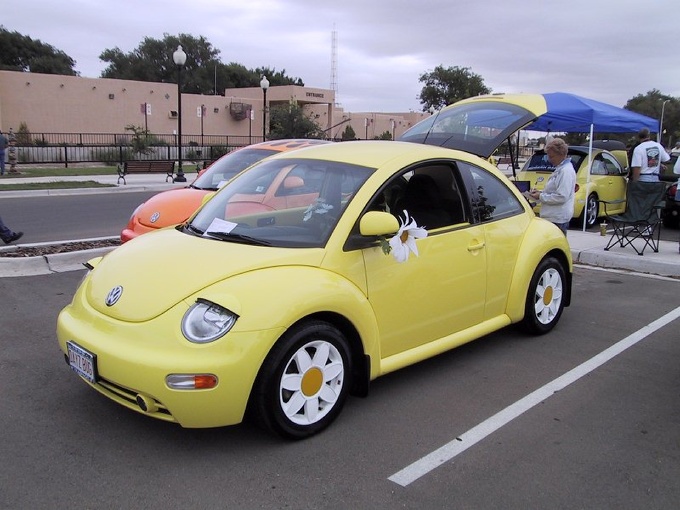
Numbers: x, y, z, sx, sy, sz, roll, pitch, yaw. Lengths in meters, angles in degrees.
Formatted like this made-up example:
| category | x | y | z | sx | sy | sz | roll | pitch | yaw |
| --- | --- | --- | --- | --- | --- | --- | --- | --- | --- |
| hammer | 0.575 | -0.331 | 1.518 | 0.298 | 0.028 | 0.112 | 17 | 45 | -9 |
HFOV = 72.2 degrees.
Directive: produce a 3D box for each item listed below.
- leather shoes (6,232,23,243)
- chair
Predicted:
| category | x | y | z | sx | sy | sz | roll | pitch | yaw |
| --- | --- | --- | --- | --- | --- | --- | --- | --- | --- |
| leather shoes | -5.842 | -0.314 | 8.279 | 0.263 | 0.106 | 0.129 | -23 | -10 | 11 |
| chair | 6.084 | -0.796 | 9.565 | 0.966 | 1.476 | 1.072 | 1 | 7 | -10 |
